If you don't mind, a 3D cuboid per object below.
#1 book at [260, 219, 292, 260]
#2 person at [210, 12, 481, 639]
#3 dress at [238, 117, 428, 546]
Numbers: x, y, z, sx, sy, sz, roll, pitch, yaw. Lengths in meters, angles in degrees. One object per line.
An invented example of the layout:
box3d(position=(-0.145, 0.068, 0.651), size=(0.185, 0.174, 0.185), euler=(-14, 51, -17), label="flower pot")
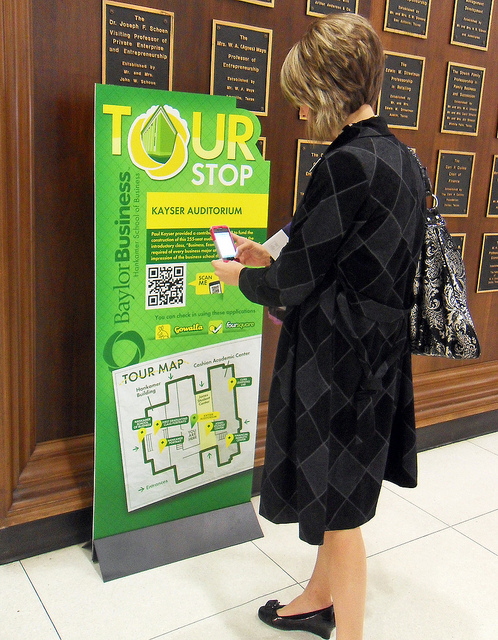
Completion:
box3d(position=(0.067, -0.196, 1.312), size=(0.109, 0.024, 0.097), euler=(-52, 7, -32), label="book")
box3d(position=(0.217, 0.149, 1.163), size=(0.491, 1.459, 0.407), euler=(-1, 10, -27), label="person")
box3d(position=(0.163, 0.035, 1.005), size=(0.382, 0.847, 0.245), euler=(3, 9, -1), label="dress")
